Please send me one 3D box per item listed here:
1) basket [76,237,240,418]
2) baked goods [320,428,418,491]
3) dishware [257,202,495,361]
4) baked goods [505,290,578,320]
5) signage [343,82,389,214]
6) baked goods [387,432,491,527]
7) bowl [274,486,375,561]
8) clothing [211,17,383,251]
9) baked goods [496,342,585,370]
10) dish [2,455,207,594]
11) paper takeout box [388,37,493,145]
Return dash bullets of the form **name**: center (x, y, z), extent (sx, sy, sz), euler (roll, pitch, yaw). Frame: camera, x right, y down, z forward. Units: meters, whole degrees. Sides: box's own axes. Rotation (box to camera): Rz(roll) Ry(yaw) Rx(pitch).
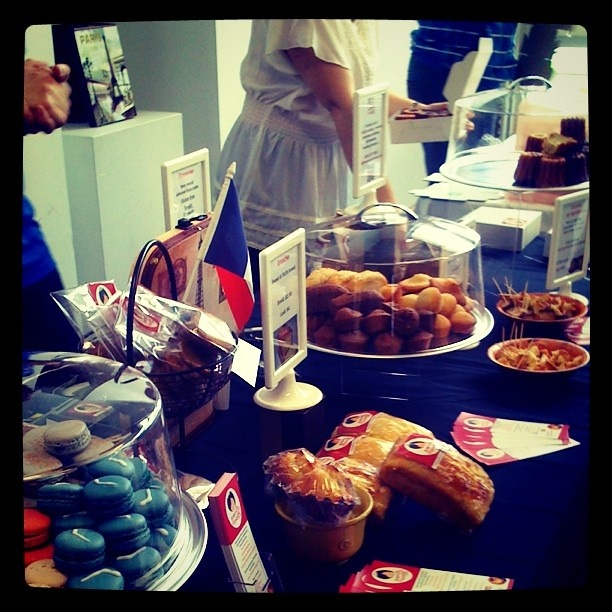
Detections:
- **basket**: center (-0.198, 0.030, 0.718), extent (0.184, 0.217, 0.255), euler (-11, 20, -22)
- **baked goods**: center (0.058, 0.172, 0.655), extent (0.063, 0.018, 0.065), euler (-21, 15, -34)
- **dishware**: center (0.138, -0.043, 0.947), extent (0.303, 0.174, 0.291), euler (-10, 18, -23)
- **baked goods**: center (0.421, 0.001, 1.001), extent (0.078, 0.017, 0.074), euler (2, 17, 13)
- **signage**: center (0.144, -0.346, 1.214), extent (0.067, 0.247, 0.230), euler (1, 19, 13)
- **baked goods**: center (0.147, 0.180, 0.602), extent (0.097, 0.047, 0.078), euler (26, 24, 27)
- **bowl**: center (0.025, 0.220, 0.552), extent (0.099, 0.039, 0.070), euler (-8, 19, -14)
- **clothing**: center (-0.013, -0.313, 1.032), extent (0.230, 0.432, 0.247), euler (3, 44, 1)
- **baked goods**: center (0.353, 0.078, 0.838), extent (0.060, 0.021, 0.058), euler (-3, 6, -40)
- **dish**: center (-0.161, 0.175, 0.491), extent (0.113, 0.035, 0.112), euler (21, 24, 24)
- **paper takeout box**: center (0.240, -0.433, 1.168), extent (0.265, 0.263, 0.161), euler (3, 35, 11)
